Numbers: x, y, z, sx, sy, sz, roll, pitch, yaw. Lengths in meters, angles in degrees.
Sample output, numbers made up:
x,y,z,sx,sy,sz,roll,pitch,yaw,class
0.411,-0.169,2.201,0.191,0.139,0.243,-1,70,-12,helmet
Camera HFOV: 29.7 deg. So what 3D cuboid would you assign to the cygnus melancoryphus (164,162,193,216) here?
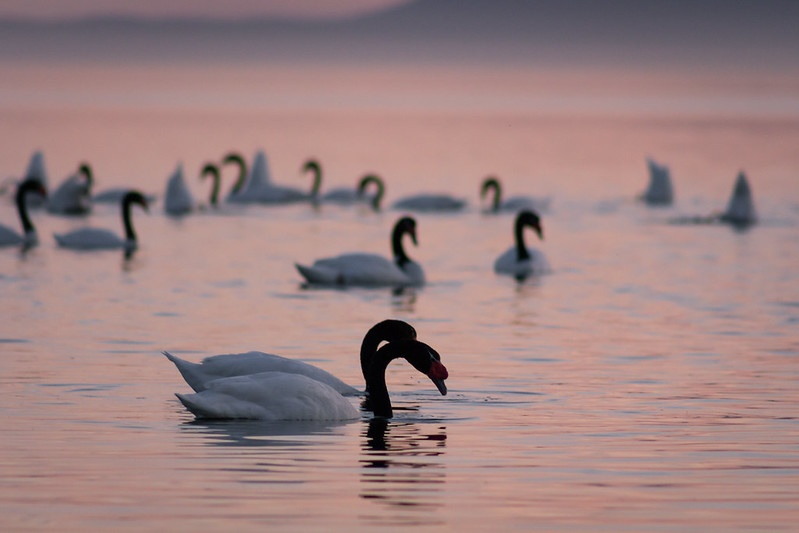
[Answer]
x,y,z,sx,sy,sz,roll,pitch,yaw,class
-7.567,-2.579,51.707,0.965,1.770,0.930,0,6,-7,cygnus melancoryphus
